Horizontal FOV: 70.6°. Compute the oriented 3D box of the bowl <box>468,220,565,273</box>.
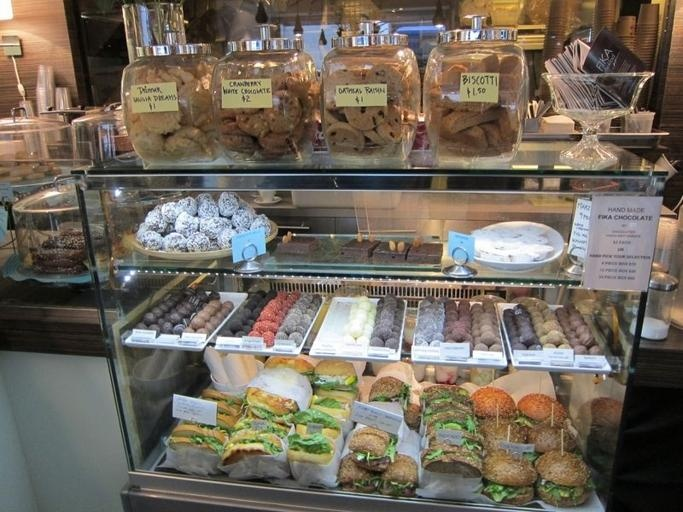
[{"bbox_3d":[0.650,-0.037,1.765,0.329,0.106,0.270,2,22,13],"label":"bowl"}]

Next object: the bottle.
[{"bbox_3d":[1.246,0.184,1.875,0.104,0.245,0.226,12,28,31],"label":"bottle"}]

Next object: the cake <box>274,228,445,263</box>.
[{"bbox_3d":[0.075,-0.019,1.817,0.479,0.038,0.218,2,18,10],"label":"cake"}]

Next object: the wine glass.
[{"bbox_3d":[0.754,-0.422,1.632,0.403,0.275,0.357,-4,12,-11],"label":"wine glass"}]
